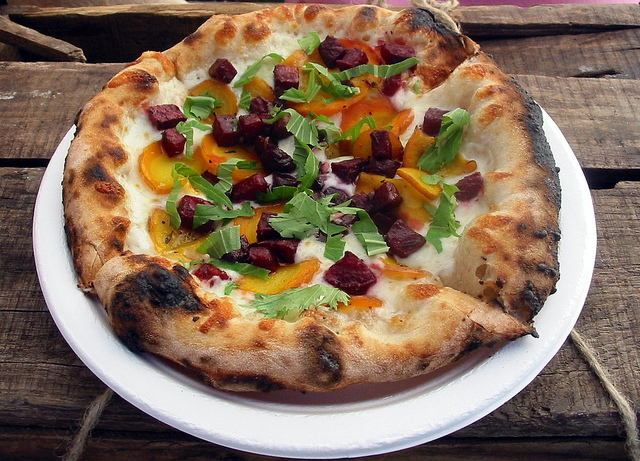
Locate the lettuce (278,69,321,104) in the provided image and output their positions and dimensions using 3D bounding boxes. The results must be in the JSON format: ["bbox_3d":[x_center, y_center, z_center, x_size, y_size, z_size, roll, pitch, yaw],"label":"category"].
[{"bbox_3d":[-0.119,-1.189,5.782,0.388,0.149,0.266,12,74,37],"label":"lettuce"}]

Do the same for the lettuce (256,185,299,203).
[{"bbox_3d":[-0.327,-0.283,5.333,0.289,0.049,0.129,-11,43,-14],"label":"lettuce"}]

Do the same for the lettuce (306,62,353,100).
[{"bbox_3d":[0.078,-1.251,5.781,0.583,0.128,0.082,28,54,2],"label":"lettuce"}]

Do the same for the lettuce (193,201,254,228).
[{"bbox_3d":[-0.774,-0.154,5.245,0.492,0.147,0.192,-17,74,-5],"label":"lettuce"}]

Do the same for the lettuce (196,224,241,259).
[{"bbox_3d":[-0.730,0.094,5.064,0.233,0.086,0.307,43,106,13],"label":"lettuce"}]

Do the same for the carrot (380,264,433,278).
[{"bbox_3d":[0.616,0.311,5.006,0.213,0.163,0.036,9,80,-9],"label":"carrot"}]
